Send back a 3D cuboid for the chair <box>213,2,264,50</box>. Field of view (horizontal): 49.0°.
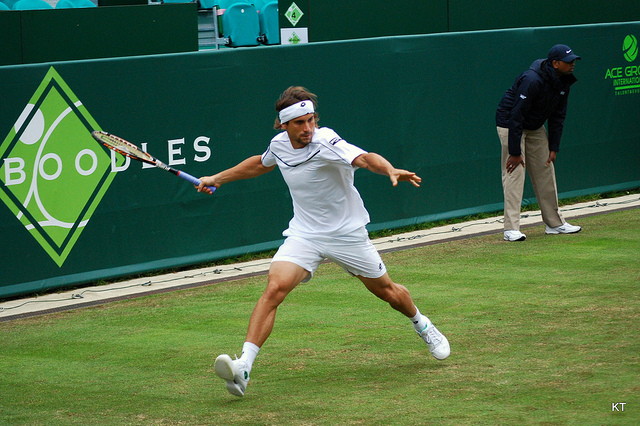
[{"bbox_3d":[-1.665,-3.813,14.198,0.978,0.906,0.631,-9,10,-6],"label":"chair"}]

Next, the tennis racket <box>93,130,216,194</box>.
[{"bbox_3d":[-2.164,-0.635,8.894,2.030,0.425,0.122,22,-11,-5],"label":"tennis racket"}]

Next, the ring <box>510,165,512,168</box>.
[{"bbox_3d":[2.704,-0.658,9.921,0.026,0.033,0.036,-2,1,21],"label":"ring"}]

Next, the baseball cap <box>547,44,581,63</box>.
[{"bbox_3d":[3.354,-2.191,9.653,0.384,0.187,0.249,-1,5,23],"label":"baseball cap"}]
